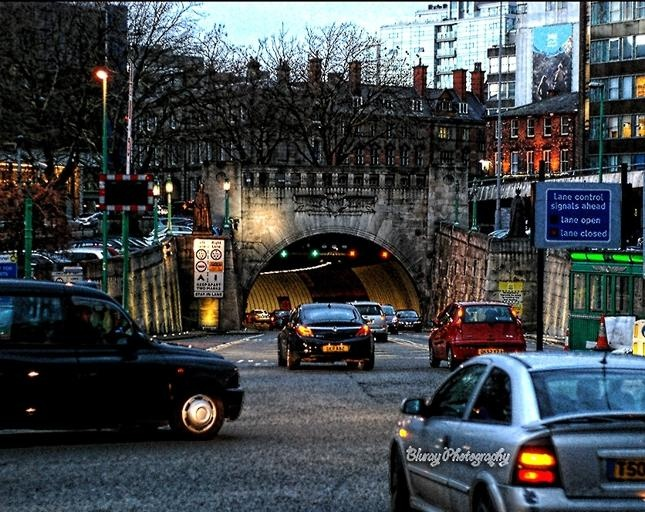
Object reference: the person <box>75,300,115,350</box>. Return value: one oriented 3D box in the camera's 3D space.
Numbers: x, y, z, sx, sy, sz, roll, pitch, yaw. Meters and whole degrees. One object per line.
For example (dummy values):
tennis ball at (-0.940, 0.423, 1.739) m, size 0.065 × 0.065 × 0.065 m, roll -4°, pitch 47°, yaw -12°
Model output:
person at (-2.963, 0.894, 13.925) m, size 0.516 × 1.039 × 0.513 m, roll -1°, pitch 4°, yaw -22°

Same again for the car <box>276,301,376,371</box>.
car at (0.117, 1.999, 25.711) m, size 2.041 × 1.510 × 1.261 m, roll -2°, pitch 2°, yaw 18°

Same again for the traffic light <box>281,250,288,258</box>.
traffic light at (-2.253, -0.101, 61.906) m, size 0.384 × 0.448 × 0.054 m, roll -1°, pitch -13°, yaw 6°

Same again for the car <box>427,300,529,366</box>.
car at (3.590, 1.834, 26.696) m, size 1.453 × 1.382 × 2.679 m, roll -1°, pitch 2°, yaw -7°

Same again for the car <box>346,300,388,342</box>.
car at (2.059, 2.563, 45.489) m, size 2.533 × 1.081 × 1.183 m, roll 6°, pitch 18°, yaw -17°

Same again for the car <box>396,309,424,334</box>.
car at (5.002, 3.796, 61.460) m, size 1.363 × 1.146 × 1.662 m, roll -2°, pitch 1°, yaw 3°

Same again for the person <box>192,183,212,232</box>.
person at (-6.015, -2.324, 53.282) m, size 0.867 × 2.540 × 0.752 m, roll -3°, pitch 2°, yaw -24°

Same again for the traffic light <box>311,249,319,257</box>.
traffic light at (-0.460, -0.134, 64.310) m, size 0.371 × 0.427 × 0.064 m, roll 4°, pitch -16°, yaw -16°
